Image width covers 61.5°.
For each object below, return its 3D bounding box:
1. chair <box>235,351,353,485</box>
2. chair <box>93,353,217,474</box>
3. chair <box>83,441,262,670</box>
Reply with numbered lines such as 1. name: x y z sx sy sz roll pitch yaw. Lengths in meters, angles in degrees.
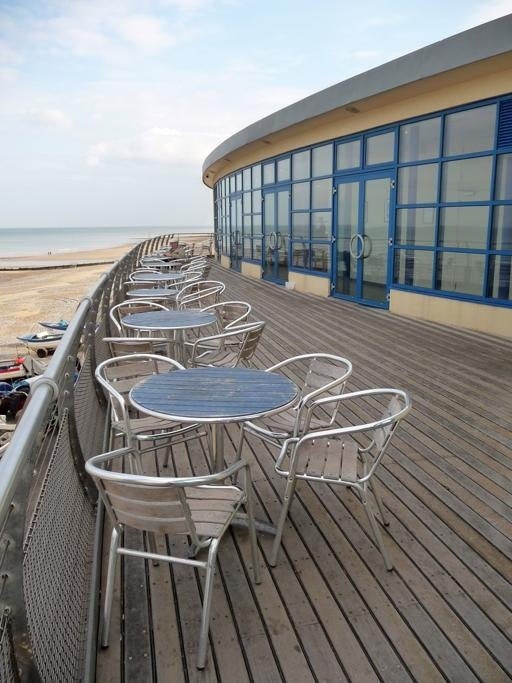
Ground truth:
1. chair: 0.249 0.508 2.668 0.634 0.775 0.622 -10 -27 23
2. chair: -0.601 0.454 2.534 0.501 0.750 0.531 -13 21 -39
3. chair: -0.276 0.696 1.581 0.534 0.694 0.580 1 10 7
